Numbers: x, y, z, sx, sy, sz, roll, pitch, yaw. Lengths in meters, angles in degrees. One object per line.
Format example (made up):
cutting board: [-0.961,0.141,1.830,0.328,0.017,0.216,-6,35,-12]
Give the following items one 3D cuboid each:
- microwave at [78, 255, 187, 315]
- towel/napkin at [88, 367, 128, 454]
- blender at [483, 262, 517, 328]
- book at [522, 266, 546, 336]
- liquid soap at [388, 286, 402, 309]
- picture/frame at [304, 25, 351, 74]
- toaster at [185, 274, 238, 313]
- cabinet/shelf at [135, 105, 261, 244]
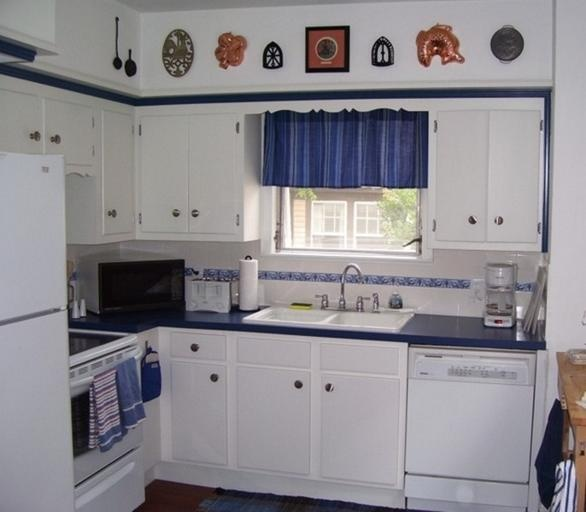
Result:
microwave: [-1.161,0.184,3.763,0.558,0.379,0.383,-3,3,-44]
towel/napkin: [-0.977,0.804,2.851,0.066,0.389,0.229,2,6,20]
blender: [1.301,0.241,3.401,0.189,0.379,0.206,2,6,22]
book: [1.474,0.270,3.303,0.032,0.294,0.318,9,17,14]
liquid soap: [0.708,0.282,3.731,0.111,0.183,0.092,2,5,16]
picture/frame: [0.226,-1.285,3.353,0.260,0.305,0.022,1,3,5]
toaster: [-0.604,0.272,3.894,0.345,0.225,0.389,3,3,9]
cabinet/shelf: [-0.658,-0.574,3.677,0.784,0.924,0.427,1,1,10]
